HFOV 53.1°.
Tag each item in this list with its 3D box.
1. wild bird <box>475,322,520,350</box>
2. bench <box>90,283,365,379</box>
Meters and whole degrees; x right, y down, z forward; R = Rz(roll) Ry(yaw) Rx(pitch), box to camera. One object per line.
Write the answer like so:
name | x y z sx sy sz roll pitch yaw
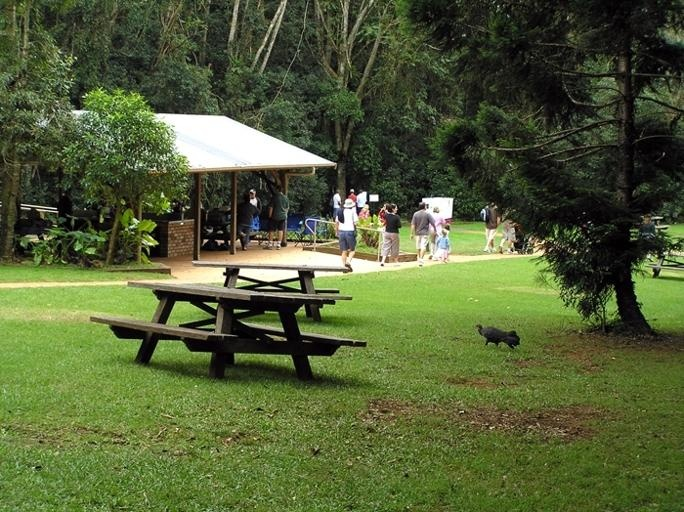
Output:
wild bird | 2.420 1.246 10.454 0.679 0.350 0.466 8 11 33
bench | -1.309 0.877 8.571 2.756 1.204 1.834 6 10 23
